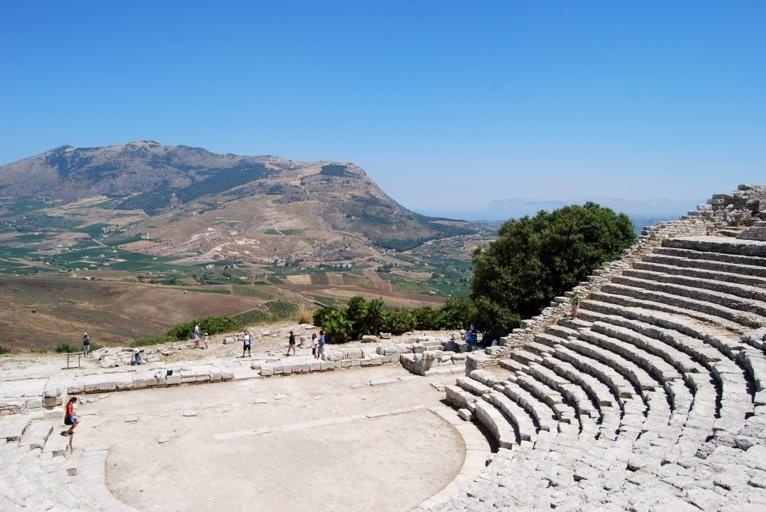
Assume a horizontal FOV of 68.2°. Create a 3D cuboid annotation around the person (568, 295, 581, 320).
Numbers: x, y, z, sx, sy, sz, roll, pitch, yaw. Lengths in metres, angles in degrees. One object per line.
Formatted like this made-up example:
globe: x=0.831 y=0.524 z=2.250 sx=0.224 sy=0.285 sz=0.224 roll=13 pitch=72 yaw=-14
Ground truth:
person: x=10.510 y=2.765 z=30.780 sx=0.549 sy=1.158 sz=1.319 roll=8 pitch=13 yaw=19
